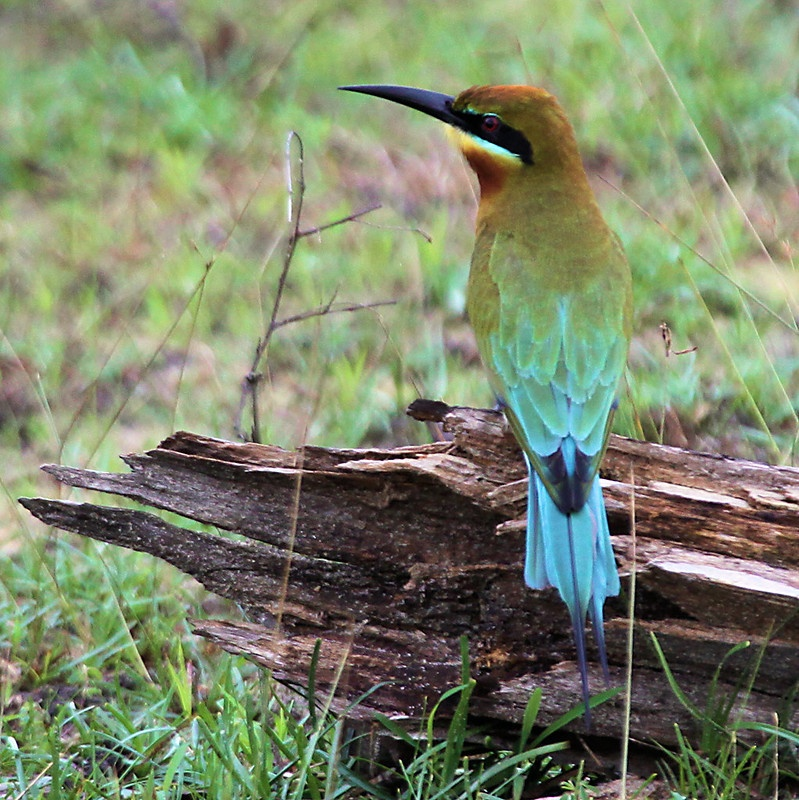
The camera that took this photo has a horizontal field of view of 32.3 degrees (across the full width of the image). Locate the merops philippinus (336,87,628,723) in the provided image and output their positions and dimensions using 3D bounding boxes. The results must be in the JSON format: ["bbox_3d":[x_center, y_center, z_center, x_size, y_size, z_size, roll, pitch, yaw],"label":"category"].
[{"bbox_3d":[0.517,-0.171,5.192,0.779,2.357,1.139,-8,-24,2],"label":"merops philippinus"}]
